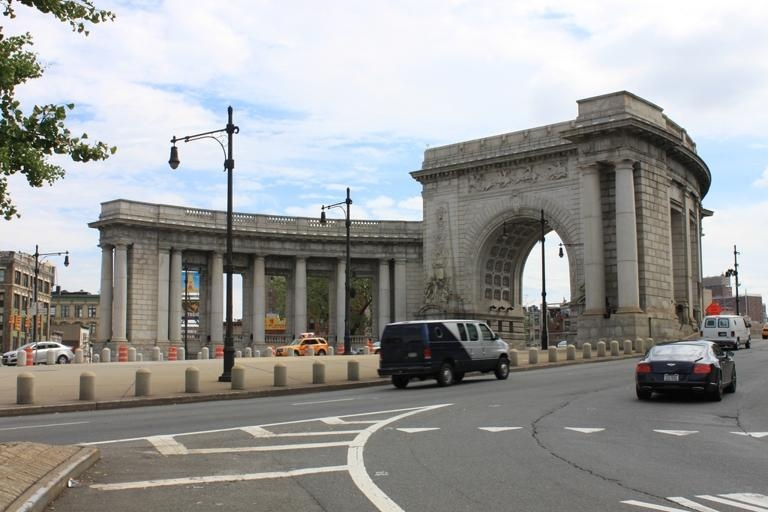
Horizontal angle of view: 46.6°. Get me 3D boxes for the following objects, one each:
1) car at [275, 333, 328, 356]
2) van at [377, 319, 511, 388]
[{"bbox_3d":[-5.734,6.419,64.647,3.051,1.259,1.698,4,-10,-21],"label":"car"},{"bbox_3d":[2.386,3.823,35.448,4.823,1.843,2.458,0,-3,-44],"label":"van"}]
